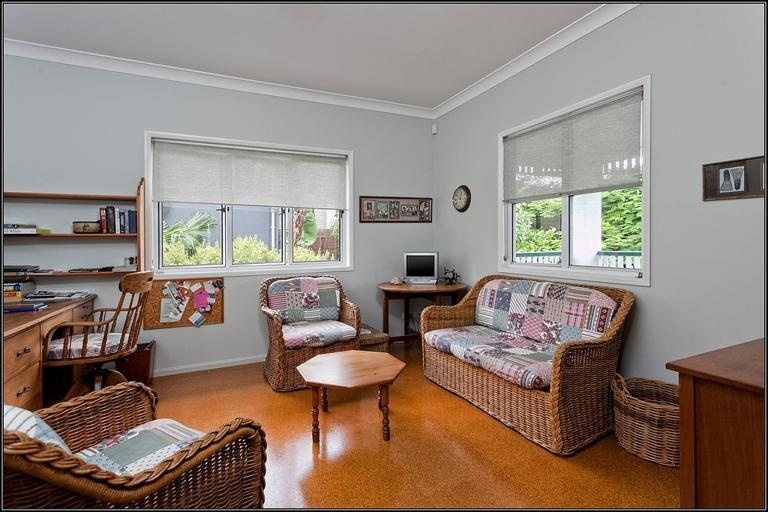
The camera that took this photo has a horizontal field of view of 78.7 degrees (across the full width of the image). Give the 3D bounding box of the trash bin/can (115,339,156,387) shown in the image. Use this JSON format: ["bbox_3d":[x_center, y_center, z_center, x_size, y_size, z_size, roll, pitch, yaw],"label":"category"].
[{"bbox_3d":[-2.543,1.023,4.852,0.383,0.465,0.676,1,3,-25],"label":"trash bin/can"}]

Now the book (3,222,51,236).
[{"bbox_3d":[-3.503,-0.252,4.613,0.364,0.125,0.225,-3,4,-34],"label":"book"}]

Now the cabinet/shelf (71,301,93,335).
[{"bbox_3d":[-2.867,0.605,4.445,0.193,0.302,0.332,1,2,-8],"label":"cabinet/shelf"}]

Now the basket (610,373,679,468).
[{"bbox_3d":[2.240,1.335,3.850,0.550,0.456,0.725,-2,-2,-11],"label":"basket"}]

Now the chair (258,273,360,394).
[{"bbox_3d":[-0.976,0.766,5.383,1.478,1.477,1.096,1,-10,-23],"label":"chair"}]

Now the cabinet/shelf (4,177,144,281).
[{"bbox_3d":[-3.199,-0.256,4.758,1.200,0.831,0.365,0,1,-17],"label":"cabinet/shelf"}]

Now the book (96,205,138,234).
[{"bbox_3d":[-2.760,-0.354,4.867,0.308,0.372,0.408,0,-1,-35],"label":"book"}]

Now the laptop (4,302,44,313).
[{"bbox_3d":[-3.164,0.454,4.094,0.175,0.041,0.187,0,-2,36],"label":"laptop"}]

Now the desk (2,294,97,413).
[{"bbox_3d":[-2.813,0.827,3.924,0.428,0.682,1.115,3,3,-18],"label":"desk"}]

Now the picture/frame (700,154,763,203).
[{"bbox_3d":[2.749,-0.604,3.679,0.037,0.300,0.446,-1,2,-36],"label":"picture/frame"}]

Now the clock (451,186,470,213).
[{"bbox_3d":[0.973,-0.707,5.911,0.077,0.338,0.359,-3,4,-24],"label":"clock"}]

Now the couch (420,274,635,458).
[{"bbox_3d":[1.301,0.883,4.509,1.384,1.383,2.289,-1,4,-25],"label":"couch"}]

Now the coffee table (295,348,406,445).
[{"bbox_3d":[-0.298,1.255,4.279,0.952,0.573,0.865,-1,3,4],"label":"coffee table"}]
